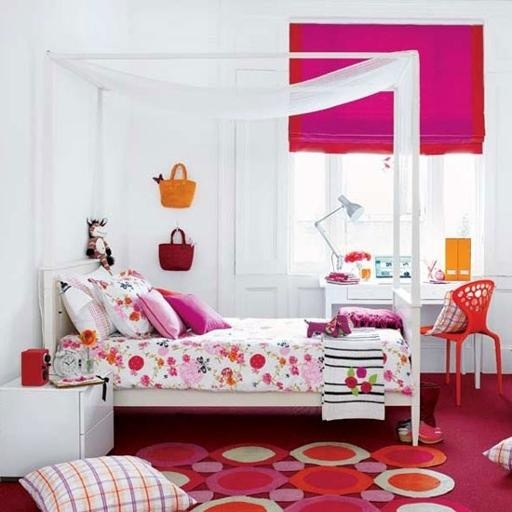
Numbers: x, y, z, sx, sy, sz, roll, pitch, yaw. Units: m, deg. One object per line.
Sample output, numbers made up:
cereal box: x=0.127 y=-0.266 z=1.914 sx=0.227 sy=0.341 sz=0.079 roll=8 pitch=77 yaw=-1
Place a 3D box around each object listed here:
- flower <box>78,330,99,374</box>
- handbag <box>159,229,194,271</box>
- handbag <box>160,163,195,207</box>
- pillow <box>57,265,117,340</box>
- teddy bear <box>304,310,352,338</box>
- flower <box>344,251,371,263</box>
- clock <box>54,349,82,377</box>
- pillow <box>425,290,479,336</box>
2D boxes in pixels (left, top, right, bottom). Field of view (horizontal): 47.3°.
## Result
flower: x=-0.901 y=0.533 z=3.168 sx=0.138 sy=0.231 sz=0.119 roll=4 pitch=-16 yaw=-22
handbag: x=-0.666 y=-0.044 z=4.845 sx=0.377 sy=0.446 sz=0.126 roll=1 pitch=-3 yaw=-4
handbag: x=-0.650 y=-0.576 z=4.845 sx=0.388 sy=0.444 sz=0.127 roll=1 pitch=-8 yaw=0
pillow: x=-0.982 y=0.289 z=3.409 sx=0.278 sy=0.367 sz=0.255 roll=0 pitch=4 yaw=-4
teddy bear: x=0.418 y=0.414 z=3.417 sx=0.228 sy=0.128 sz=0.177 roll=-1 pitch=4 yaw=-21
flower: x=0.828 y=0.011 z=4.841 sx=0.147 sy=0.065 sz=0.109 roll=-3 pitch=-1 yaw=13
clock: x=-1.001 y=0.581 z=3.117 sx=0.139 sy=0.128 sz=0.045 roll=1 pitch=-9 yaw=-9
pillow: x=1.393 y=0.412 z=4.259 sx=0.265 sy=0.349 sz=0.229 roll=-3 pitch=5 yaw=-39
